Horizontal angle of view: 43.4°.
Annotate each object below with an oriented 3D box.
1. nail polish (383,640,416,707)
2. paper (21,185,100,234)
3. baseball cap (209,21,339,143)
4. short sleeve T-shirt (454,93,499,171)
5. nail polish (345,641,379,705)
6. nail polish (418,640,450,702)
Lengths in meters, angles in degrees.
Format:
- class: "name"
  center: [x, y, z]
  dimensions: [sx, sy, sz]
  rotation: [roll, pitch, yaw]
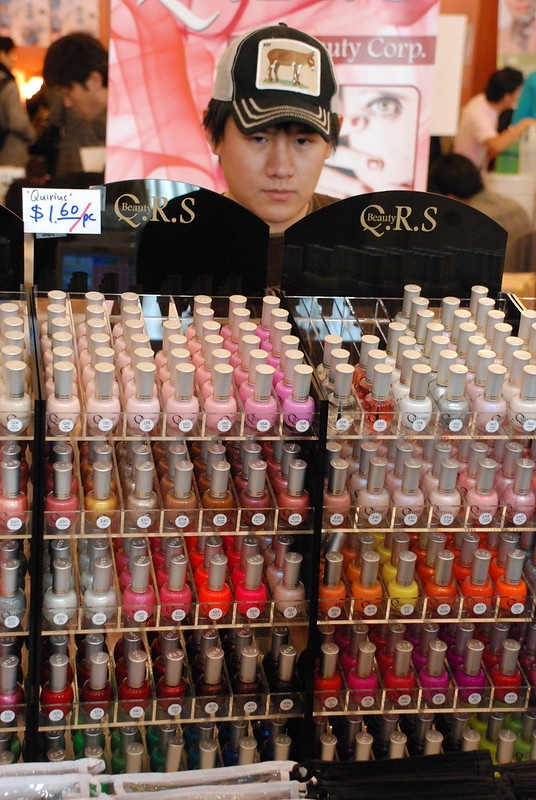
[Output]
- class: "nail polish"
  center: [0.388, 0.806, 1.974]
  dimensions: [0.087, 0.200, 0.087]
  rotation: [-10, 21, -42]
- class: "paper"
  center: [-0.625, -0.573, 2.037]
  dimensions: [0.261, 0.151, 0.009]
  rotation: [-5, 35, -18]
- class: "baseball cap"
  center: [0.037, -1.189, 2.460]
  dimensions: [0.443, 0.348, 0.613]
  rotation: [4, 28, -8]
- class: "short sleeve T-shirt"
  center: [1.001, -1.247, 3.125]
  dimensions: [0.185, 0.330, 0.384]
  rotation: [2, 23, 5]
- class: "nail polish"
  center: [0.285, 0.802, 1.951]
  dimensions: [0.069, 0.158, 0.069]
  rotation: [-1, 14, 27]
- class: "nail polish"
  center: [0.499, 0.819, 1.996]
  dimensions: [0.074, 0.173, 0.073]
  rotation: [-8, 0, -3]
